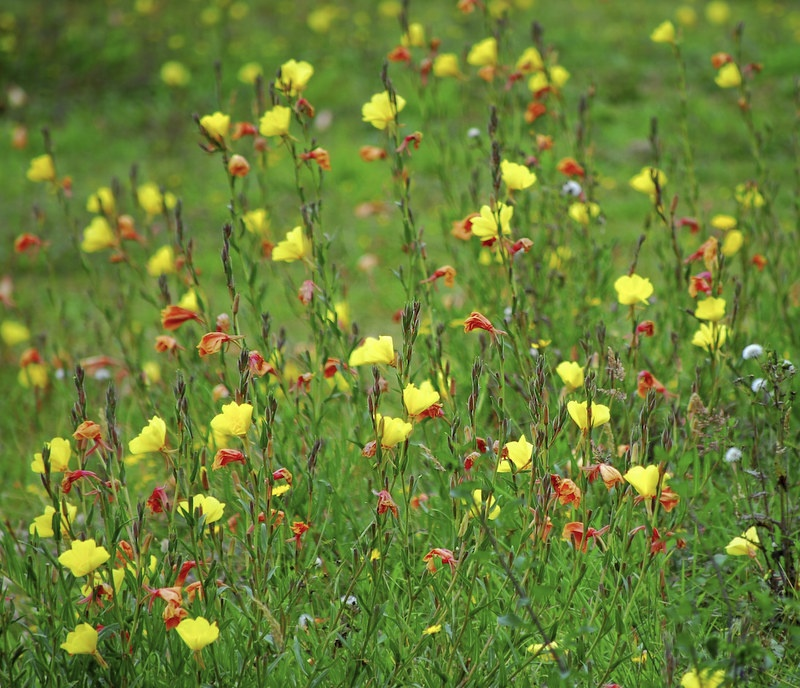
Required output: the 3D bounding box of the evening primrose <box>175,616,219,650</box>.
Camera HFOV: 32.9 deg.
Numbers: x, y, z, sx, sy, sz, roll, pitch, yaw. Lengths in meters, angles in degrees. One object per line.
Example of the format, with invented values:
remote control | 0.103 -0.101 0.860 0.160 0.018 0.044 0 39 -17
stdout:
evening primrose | -0.578 0.814 3.837 0.078 0.082 0.104 8 26 3
